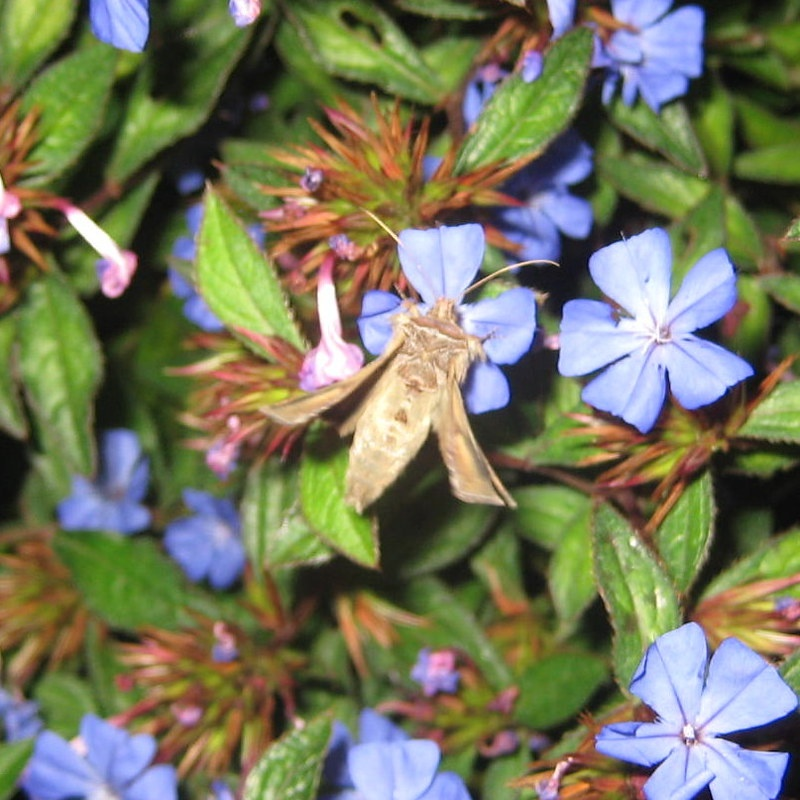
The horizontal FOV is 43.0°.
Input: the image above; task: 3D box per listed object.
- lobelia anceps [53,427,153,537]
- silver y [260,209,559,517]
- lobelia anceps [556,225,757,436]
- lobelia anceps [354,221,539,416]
[{"bbox_3d":[-0.556,0.153,1.949,0.165,0.080,0.213,6,75,7],"label":"lobelia anceps"},{"bbox_3d":[0.053,-0.060,1.690,0.377,0.163,0.480,19,81,-17],"label":"silver y"},{"bbox_3d":[0.396,-0.123,1.644,0.274,0.163,0.325,-7,74,4],"label":"lobelia anceps"},{"bbox_3d":[0.098,-0.177,1.673,0.261,0.093,0.339,6,77,5],"label":"lobelia anceps"}]
